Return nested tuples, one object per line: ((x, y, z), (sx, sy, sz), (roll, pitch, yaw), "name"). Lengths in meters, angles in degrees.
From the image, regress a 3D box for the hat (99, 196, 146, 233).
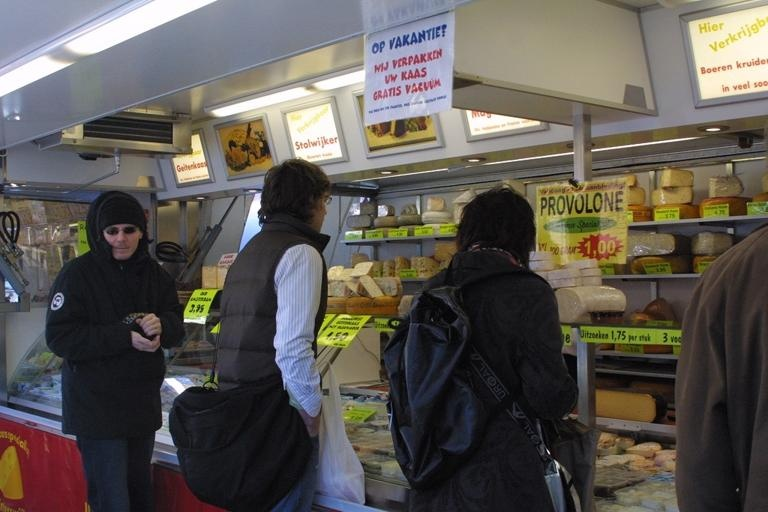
((-1.436, -0.215, 3.026), (0.208, 0.155, 0.199), (0, -6, -27), "hat")

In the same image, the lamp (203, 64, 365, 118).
((-0.805, -1.423, 4.836), (1.767, 0.092, 0.382), (0, 0, 33), "lamp")
